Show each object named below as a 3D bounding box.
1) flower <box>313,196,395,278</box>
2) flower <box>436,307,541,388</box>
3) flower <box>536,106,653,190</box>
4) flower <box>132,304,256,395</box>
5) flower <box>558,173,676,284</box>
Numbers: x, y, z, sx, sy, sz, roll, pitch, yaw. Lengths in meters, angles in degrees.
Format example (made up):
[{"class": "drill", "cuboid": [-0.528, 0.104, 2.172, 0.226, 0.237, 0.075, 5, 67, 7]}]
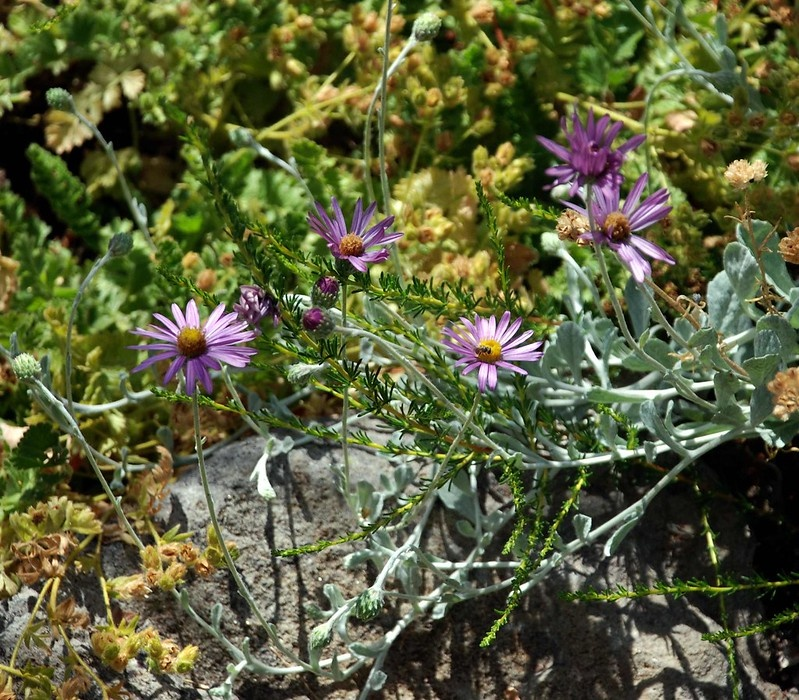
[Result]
[{"class": "flower", "cuboid": [-0.091, -0.213, 1.997, 0.193, 0.089, 0.204, -9, -12, 13]}, {"class": "flower", "cuboid": [0.169, -0.003, 1.982, 0.195, 0.067, 0.219, -16, -30, 35]}, {"class": "flower", "cuboid": [0.349, -0.348, 1.916, 0.186, 0.091, 0.215, -9, -2, -15]}, {"class": "flower", "cuboid": [-0.386, -0.019, 1.918, 0.165, 0.047, 0.189, -15, -28, 15]}, {"class": "flower", "cuboid": [0.420, -0.261, 1.961, 0.195, 0.085, 0.238, 2, -15, 0]}]
